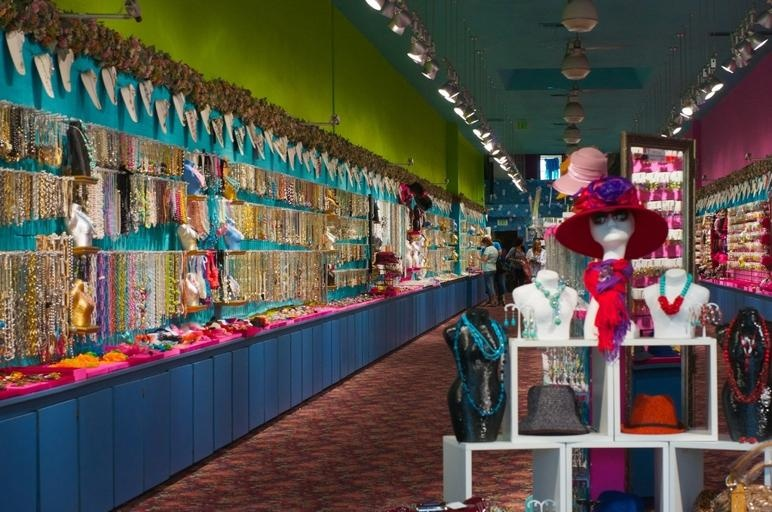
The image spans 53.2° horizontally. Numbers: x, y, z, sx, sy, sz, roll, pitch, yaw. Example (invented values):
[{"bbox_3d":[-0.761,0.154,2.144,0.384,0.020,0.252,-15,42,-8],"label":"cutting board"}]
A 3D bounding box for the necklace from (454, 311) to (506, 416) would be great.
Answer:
[{"bbox_3d":[0.616,0.675,5.054,0.353,0.681,0.174,-1,3,8],"label":"necklace"}]

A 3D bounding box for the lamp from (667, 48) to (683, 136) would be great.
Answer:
[{"bbox_3d":[5.879,-3.221,15.752,0.409,1.502,4.347,0,4,20],"label":"lamp"}]

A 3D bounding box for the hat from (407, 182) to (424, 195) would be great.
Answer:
[{"bbox_3d":[0.616,-1.407,15.865,0.231,0.192,0.259,0,-2,-34],"label":"hat"}]

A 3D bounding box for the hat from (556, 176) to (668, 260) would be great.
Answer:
[{"bbox_3d":[1.543,-0.368,5.392,0.700,0.407,0.764,-6,-5,24],"label":"hat"}]

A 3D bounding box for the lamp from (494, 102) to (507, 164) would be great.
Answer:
[{"bbox_3d":[2.924,-3.227,19.707,0.296,1.393,0.316,-5,22,10],"label":"lamp"}]

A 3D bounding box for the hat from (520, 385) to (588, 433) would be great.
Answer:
[{"bbox_3d":[1.114,1.003,5.217,0.307,0.196,0.369,0,-10,0],"label":"hat"}]

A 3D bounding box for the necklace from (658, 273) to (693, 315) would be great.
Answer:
[{"bbox_3d":[1.947,0.237,5.189,0.247,0.271,0.169,-1,3,5],"label":"necklace"}]

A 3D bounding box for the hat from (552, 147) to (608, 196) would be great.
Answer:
[{"bbox_3d":[1.458,-0.675,5.953,0.404,0.231,0.400,16,23,24],"label":"hat"}]

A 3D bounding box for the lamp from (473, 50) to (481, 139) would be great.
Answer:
[{"bbox_3d":[1.819,-3.292,15.372,0.151,1.543,0.147,-1,2,-23],"label":"lamp"}]

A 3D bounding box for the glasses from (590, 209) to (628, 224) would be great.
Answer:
[{"bbox_3d":[1.533,-0.276,5.258,0.243,0.094,0.048,-1,3,9],"label":"glasses"}]

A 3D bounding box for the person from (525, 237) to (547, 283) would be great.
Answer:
[{"bbox_3d":[3.516,0.079,18.070,0.429,1.001,0.411,3,25,12],"label":"person"}]

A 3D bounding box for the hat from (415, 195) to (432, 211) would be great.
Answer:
[{"bbox_3d":[0.792,-1.158,16.046,0.186,0.308,0.490,1,4,36],"label":"hat"}]
